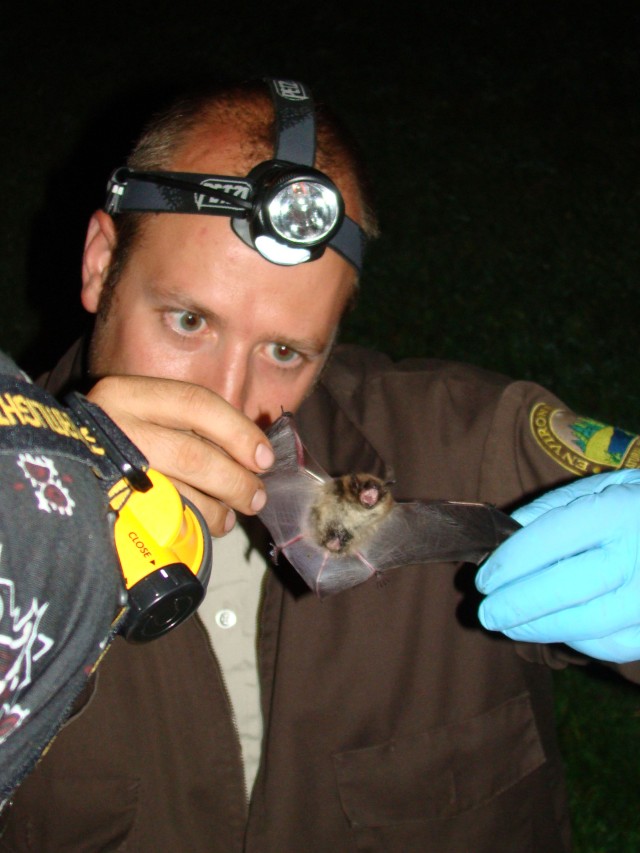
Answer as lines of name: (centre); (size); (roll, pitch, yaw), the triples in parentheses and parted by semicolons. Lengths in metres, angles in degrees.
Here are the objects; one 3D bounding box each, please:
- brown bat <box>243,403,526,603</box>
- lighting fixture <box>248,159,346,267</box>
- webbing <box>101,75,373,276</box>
brown bat: (0.070, 0.172, 1.771); (0.659, 0.260, 0.273); (20, 45, -16)
lighting fixture: (-0.060, -0.478, 1.907); (0.232, 0.223, 0.082); (8, 12, -18)
webbing: (-0.236, -0.570, 2.037); (0.575, 0.264, 0.492); (16, 27, 13)
